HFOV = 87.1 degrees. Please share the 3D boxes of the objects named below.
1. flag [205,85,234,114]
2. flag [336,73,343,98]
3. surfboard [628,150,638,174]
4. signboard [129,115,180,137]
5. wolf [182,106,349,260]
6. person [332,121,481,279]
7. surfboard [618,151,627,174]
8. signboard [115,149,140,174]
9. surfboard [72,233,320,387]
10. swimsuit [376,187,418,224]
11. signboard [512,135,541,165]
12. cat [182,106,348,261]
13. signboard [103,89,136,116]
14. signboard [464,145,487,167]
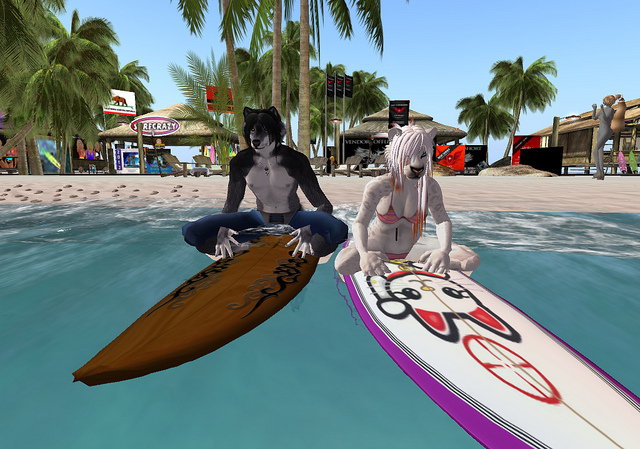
[{"bbox_3d":[-4.857,-6.134,16.392,0.140,1.312,1.677,21,25,37],"label":"flag"},{"bbox_3d":[1.364,-9.726,23.429,0.437,1.286,0.975,0,14,2],"label":"flag"},{"bbox_3d":[16.507,-3.285,17.670,0.486,1.137,0.906,11,18,40],"label":"surfboard"},{"bbox_3d":[-12.022,-7.312,24.786,2.506,1.406,1.275,-1,14,-4],"label":"signboard"},{"bbox_3d":[-0.481,-0.401,3.342,1.577,1.317,1.107,-1,11,3],"label":"wolf"},{"bbox_3d":[0.672,-0.168,2.812,1.289,1.245,0.911,-2,13,-15],"label":"person"},{"bbox_3d":[16.137,-3.294,17.868,0.444,1.135,0.706,10,18,37],"label":"surfboard"},{"bbox_3d":[-16.941,-5.691,29.801,1.426,1.989,2.862,1,14,8],"label":"signboard"},{"bbox_3d":[-0.715,0.547,3.014,0.977,0.285,3.259,4,10,9],"label":"surfboard"},{"bbox_3d":[0.641,-0.112,2.770,0.325,0.222,0.050,1,14,6],"label":"swimsuit"},{"bbox_3d":[13.936,-5.144,22.798,1.567,1.779,4.759,7,16,29],"label":"signboard"},{"bbox_3d":[-0.460,-0.268,3.761,2.221,1.916,1.517,-2,0,2],"label":"cat"},{"bbox_3d":[-18.170,-11.157,30.648,3.273,2.196,0.095,8,7,9],"label":"signboard"},{"bbox_3d":[11.332,-4.994,24.507,1.791,1.539,0.725,0,14,3],"label":"signboard"}]
